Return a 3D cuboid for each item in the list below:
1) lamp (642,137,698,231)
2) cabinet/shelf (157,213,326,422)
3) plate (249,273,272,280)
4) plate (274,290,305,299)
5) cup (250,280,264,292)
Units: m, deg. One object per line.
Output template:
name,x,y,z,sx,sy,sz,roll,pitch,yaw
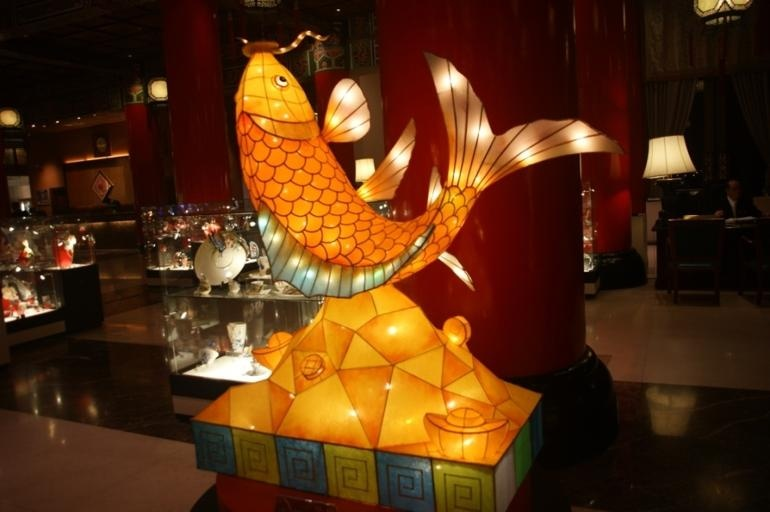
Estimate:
lamp,3.585,-1.142,7.964,0.621,0.673,0.648,7,29,41
cabinet/shelf,-1.147,0.548,4.970,1.184,1.412,0.454,0,9,20
plate,-0.975,0.158,4.885,0.149,0.018,0.265,-8,11,-20
plate,-0.704,0.283,4.568,0.278,0.047,0.046,1,10,29
cup,-0.972,0.231,4.786,0.080,0.091,0.089,-4,5,-18
